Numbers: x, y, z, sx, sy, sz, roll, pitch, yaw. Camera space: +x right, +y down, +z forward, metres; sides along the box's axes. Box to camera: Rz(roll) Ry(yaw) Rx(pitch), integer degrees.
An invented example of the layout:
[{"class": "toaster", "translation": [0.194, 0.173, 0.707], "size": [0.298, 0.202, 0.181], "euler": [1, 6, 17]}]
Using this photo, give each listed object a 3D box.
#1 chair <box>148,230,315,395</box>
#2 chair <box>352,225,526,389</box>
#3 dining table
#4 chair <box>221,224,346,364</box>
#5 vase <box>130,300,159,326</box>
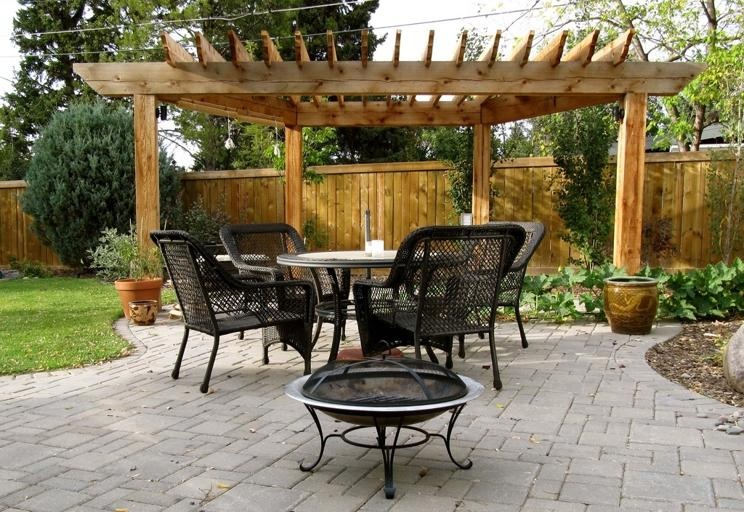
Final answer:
[{"class": "chair", "translation": [-1.184, 0.407, 4.723], "size": [1.224, 1.016, 0.821], "euler": [5, -5, -41]}, {"class": "chair", "translation": [0.685, 0.308, 4.856], "size": [1.402, 1.549, 1.315], "euler": [-2, 5, -29]}, {"class": "dining table", "translation": [-0.143, 0.514, 4.858], "size": [1.247, 0.780, 1.190], "euler": [0, 5, 12]}, {"class": "chair", "translation": [-0.807, 0.393, 5.845], "size": [1.440, 1.370, 1.333], "euler": [2, 8, -5]}, {"class": "vase", "translation": [-2.604, 0.640, 6.435], "size": [0.297, 0.202, 0.278], "euler": [0, -3, 5]}]
